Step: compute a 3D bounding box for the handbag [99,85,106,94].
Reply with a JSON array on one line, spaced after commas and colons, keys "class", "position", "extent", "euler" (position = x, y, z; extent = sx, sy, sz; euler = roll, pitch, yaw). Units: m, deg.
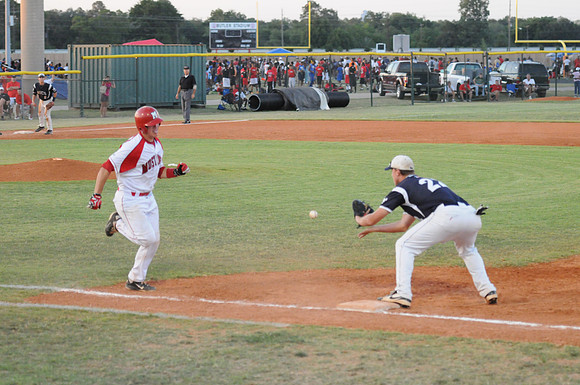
[{"class": "handbag", "position": [-7.759, -4.288, 39.467], "extent": [0.218, 0.323, 0.319], "euler": [0, 11, 4]}]

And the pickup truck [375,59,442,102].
[{"class": "pickup truck", "position": [6.111, -5.587, 47.343], "extent": [2.766, 2.029, 5.481], "euler": [-1, 10, 1]}]

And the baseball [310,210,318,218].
[{"class": "baseball", "position": [0.446, 0.410, 17.637], "extent": [0.166, 0.096, 0.147], "euler": [0, 8, -3]}]

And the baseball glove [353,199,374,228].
[{"class": "baseball glove", "position": [1.321, 0.386, 17.355], "extent": [0.366, 0.488, 0.243], "euler": [-1, 15, 4]}]

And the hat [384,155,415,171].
[{"class": "hat", "position": [1.967, -0.524, 17.147], "extent": [0.477, 0.223, 0.334], "euler": [6, 8, 28]}]
